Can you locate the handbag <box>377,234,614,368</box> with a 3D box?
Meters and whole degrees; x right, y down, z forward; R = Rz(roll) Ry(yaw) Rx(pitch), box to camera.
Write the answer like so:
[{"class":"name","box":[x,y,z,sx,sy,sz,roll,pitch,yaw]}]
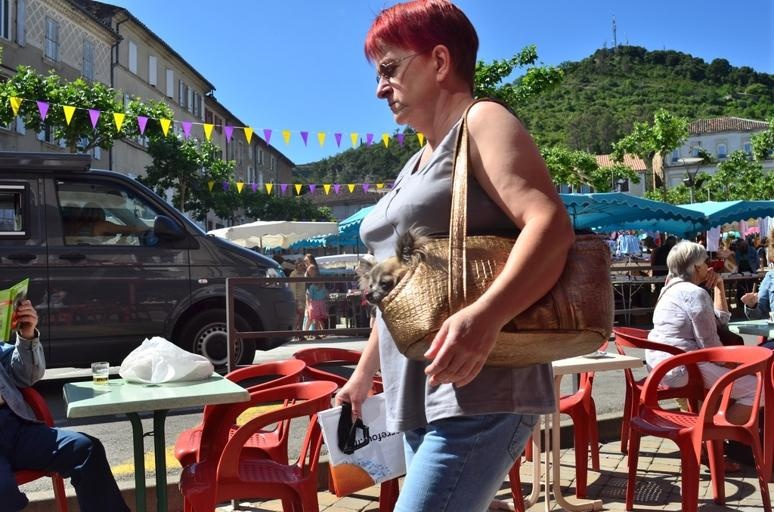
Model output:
[{"class":"handbag","box":[0.634,0.228,3.859,1.227,0.597,0.929,-3,-4,12]}]
